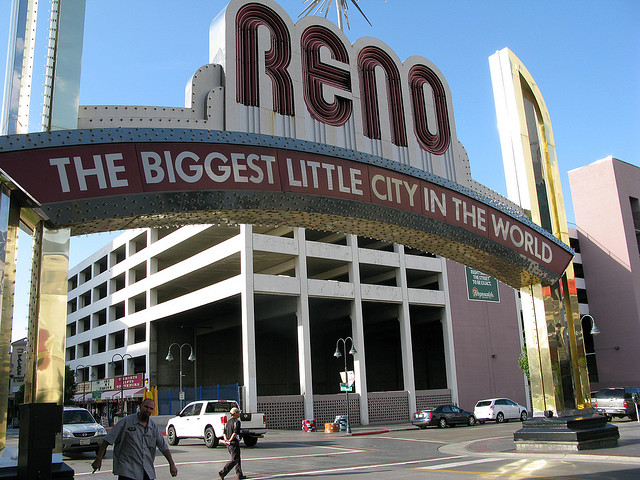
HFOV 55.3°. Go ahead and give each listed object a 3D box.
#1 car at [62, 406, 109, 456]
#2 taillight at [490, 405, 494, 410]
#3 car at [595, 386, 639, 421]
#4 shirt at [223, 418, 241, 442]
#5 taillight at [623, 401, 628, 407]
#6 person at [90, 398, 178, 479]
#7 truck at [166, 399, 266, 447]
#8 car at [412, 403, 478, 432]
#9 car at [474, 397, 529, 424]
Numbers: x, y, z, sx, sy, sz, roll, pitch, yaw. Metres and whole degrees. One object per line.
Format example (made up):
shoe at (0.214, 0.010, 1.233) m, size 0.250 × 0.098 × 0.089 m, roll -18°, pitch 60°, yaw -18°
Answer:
car at (-9.122, 6.917, 22.327) m, size 1.634 × 1.847 × 3.175 m, roll 10°, pitch -18°, yaw -38°
taillight at (10.292, 10.034, 36.459) m, size 0.302 × 0.233 × 0.103 m, roll 1°, pitch -3°, yaw -34°
car at (14.937, 8.415, 30.545) m, size 1.991 × 1.779 × 2.884 m, roll -2°, pitch -3°, yaw 24°
shirt at (-2.198, 4.760, 15.287) m, size 0.372 × 0.579 × 0.485 m, roll 0°, pitch -3°, yaw -14°
taillight at (15.007, 8.072, 29.904) m, size 0.171 × 0.333 × 0.176 m, roll 3°, pitch -6°, yaw -9°
person at (-2.950, 3.183, 9.654) m, size 1.102 × 1.301 × 0.716 m, roll 1°, pitch -3°, yaw -35°
truck at (-4.742, 7.469, 26.168) m, size 2.872 × 2.264 × 5.805 m, roll 13°, pitch -20°, yaw -39°
car at (7.232, 10.258, 35.056) m, size 3.384 × 1.268 × 1.676 m, roll 1°, pitch -3°, yaw -26°
car at (10.828, 10.475, 37.156) m, size 3.385 × 1.492 × 1.080 m, roll 1°, pitch -3°, yaw -26°
